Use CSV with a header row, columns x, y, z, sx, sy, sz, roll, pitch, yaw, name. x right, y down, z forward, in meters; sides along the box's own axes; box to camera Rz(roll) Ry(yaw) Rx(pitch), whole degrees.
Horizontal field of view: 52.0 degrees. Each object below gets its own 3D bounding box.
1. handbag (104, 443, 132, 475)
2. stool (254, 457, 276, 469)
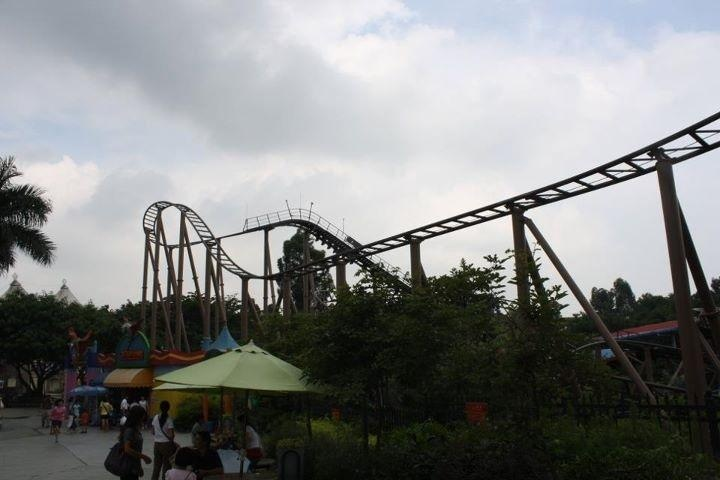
x,y,z,sx,sy,sz,roll,pitch,yaw,name
-5.762,5.146,17.359,0.562,0.750,0.337,-6,-4,36,handbag
-2.393,5.755,18.960,0.399,0.313,0.602,-4,-3,6,stool
